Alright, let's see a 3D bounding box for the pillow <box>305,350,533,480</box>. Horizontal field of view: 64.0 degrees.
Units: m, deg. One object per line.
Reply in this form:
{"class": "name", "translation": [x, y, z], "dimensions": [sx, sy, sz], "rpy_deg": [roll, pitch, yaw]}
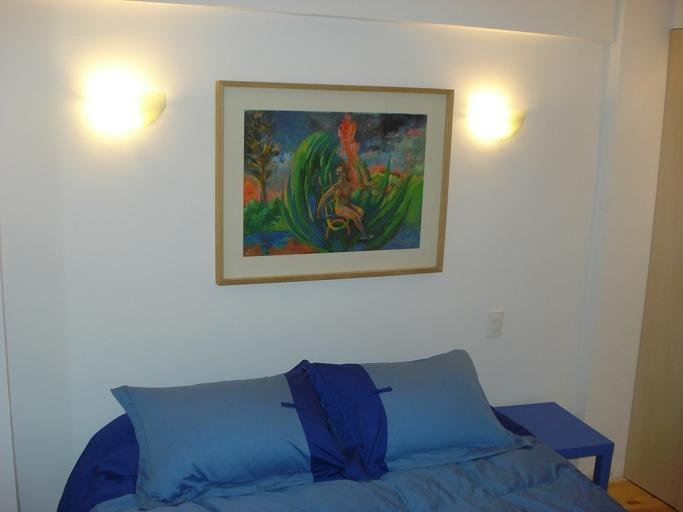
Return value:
{"class": "pillow", "translation": [0.350, 0.712, 2.640], "dimensions": [0.866, 0.290, 0.781], "rpy_deg": [-6, 17, 1]}

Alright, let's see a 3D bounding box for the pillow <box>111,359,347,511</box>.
{"class": "pillow", "translation": [-0.440, 0.739, 2.284], "dimensions": [0.812, 0.353, 0.443], "rpy_deg": [-5, 9, -22]}

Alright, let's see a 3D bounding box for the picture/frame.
{"class": "picture/frame", "translation": [-0.070, -0.378, 2.573], "dimensions": [0.903, 0.813, 0.024], "rpy_deg": [-1, 12, -17]}
